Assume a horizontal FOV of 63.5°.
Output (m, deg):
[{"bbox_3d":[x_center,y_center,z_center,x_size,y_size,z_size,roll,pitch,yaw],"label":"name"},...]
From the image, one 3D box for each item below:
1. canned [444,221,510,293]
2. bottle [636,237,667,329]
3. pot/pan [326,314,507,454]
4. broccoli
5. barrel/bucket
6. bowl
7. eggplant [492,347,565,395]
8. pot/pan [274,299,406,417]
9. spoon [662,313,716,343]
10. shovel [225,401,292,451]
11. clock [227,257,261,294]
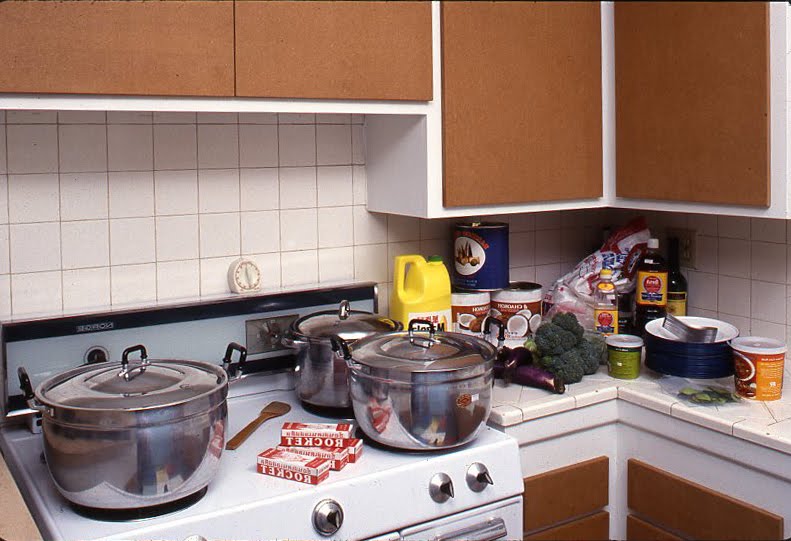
[{"bbox_3d":[0.303,-0.048,2.290,0.196,0.237,0.123,-3,8,0],"label":"canned"},{"bbox_3d":[0.932,0.056,2.340,0.109,0.338,0.139,3,10,35],"label":"bottle"},{"bbox_3d":[0.068,0.308,1.820,0.485,0.338,0.426,0,6,-4],"label":"pot/pan"},{"bbox_3d":[0.532,0.212,2.184,0.283,0.232,0.218,-10,16,-34],"label":"broccoli"},{"bbox_3d":[0.078,0.062,2.174,0.165,0.274,0.169,1,15,0],"label":"barrel/bucket"},{"bbox_3d":[0.934,0.256,2.056,0.264,0.148,0.166,4,11,42],"label":"bowl"},{"bbox_3d":[0.418,0.335,2.065,0.211,0.119,0.058,39,-7,32],"label":"eggplant"},{"bbox_3d":[-0.176,0.218,1.974,0.412,0.304,0.300,-3,5,-33],"label":"pot/pan"},{"bbox_3d":[0.957,0.185,2.074,0.122,0.049,0.072,14,12,1],"label":"spoon"},{"bbox_3d":[-0.403,0.437,1.843,0.110,0.083,0.145,16,19,42],"label":"shovel"},{"bbox_3d":[-0.495,0.019,2.076,0.103,0.106,0.065,-6,9,-16],"label":"clock"}]
